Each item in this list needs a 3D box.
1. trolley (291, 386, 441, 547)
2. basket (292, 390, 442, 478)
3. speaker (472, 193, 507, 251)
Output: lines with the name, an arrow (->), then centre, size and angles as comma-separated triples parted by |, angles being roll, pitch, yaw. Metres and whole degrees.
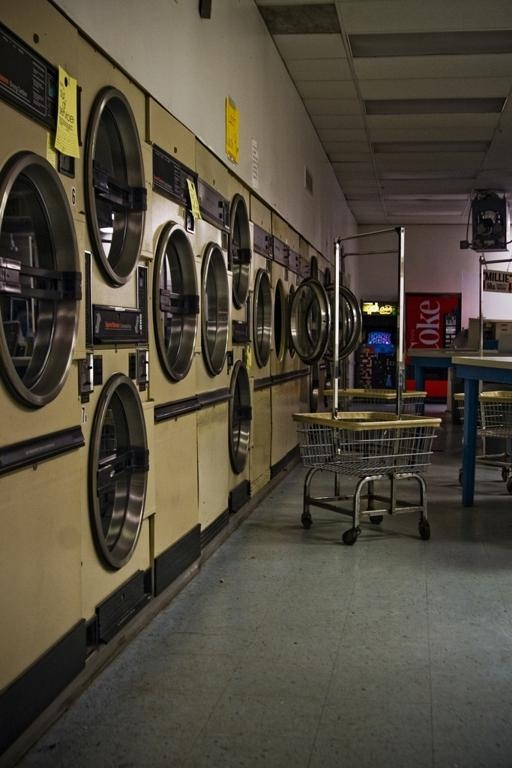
trolley -> 0.599, 0.418, 3.448 | 0.687, 1.232, 0.778 | 1, -1, -27
basket -> 0.598, 0.319, 3.164 | 0.408, 0.342, 0.658 | -2, 4, -21
speaker -> 3.850, -2.658, 9.178 | 0.530, 1.085, 0.592 | 0, -1, 25
